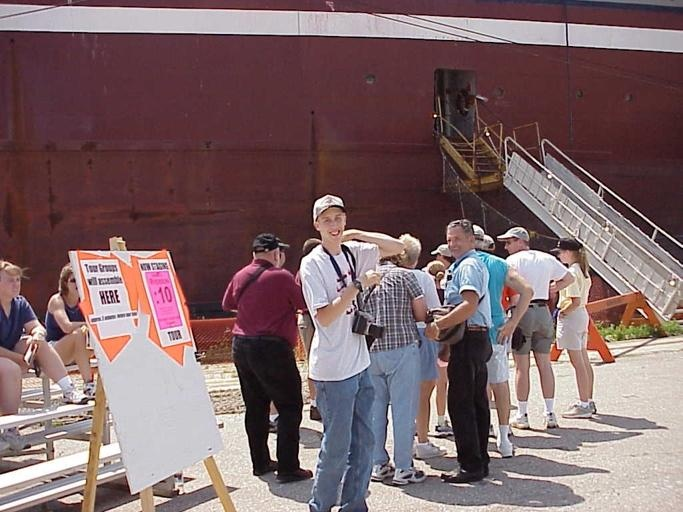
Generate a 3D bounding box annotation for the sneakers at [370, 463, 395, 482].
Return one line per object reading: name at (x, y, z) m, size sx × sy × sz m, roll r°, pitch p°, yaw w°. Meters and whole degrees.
sneakers at (0.563, 2.925, 10.709) m, size 0.433 × 0.210 × 0.145 m, roll -4°, pitch 4°, yaw -37°

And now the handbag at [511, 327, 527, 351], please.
handbag at (2.570, 1.193, 11.479) m, size 0.219 × 0.319 × 0.338 m, roll -1°, pitch 5°, yaw 12°

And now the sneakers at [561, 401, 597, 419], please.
sneakers at (3.726, 2.392, 12.365) m, size 0.562 × 0.300 × 0.223 m, roll -4°, pitch -3°, yaw 10°

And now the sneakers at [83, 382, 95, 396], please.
sneakers at (-3.553, 1.874, 11.108) m, size 0.133 × 0.196 × 0.411 m, roll 0°, pitch 4°, yaw -25°

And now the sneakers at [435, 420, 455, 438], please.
sneakers at (1.579, 2.617, 11.931) m, size 0.295 × 0.238 × 0.140 m, roll -2°, pitch -8°, yaw 9°

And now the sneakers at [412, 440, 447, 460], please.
sneakers at (1.268, 2.743, 11.294) m, size 0.442 × 0.220 × 0.214 m, roll -1°, pitch 1°, yaw -18°

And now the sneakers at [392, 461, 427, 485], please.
sneakers at (0.902, 2.893, 10.607) m, size 0.470 × 0.264 × 0.208 m, roll -5°, pitch 6°, yaw -26°

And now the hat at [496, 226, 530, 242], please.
hat at (2.666, -0.333, 12.233) m, size 0.518 × 0.264 × 0.362 m, roll 1°, pitch -3°, yaw 10°

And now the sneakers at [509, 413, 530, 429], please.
sneakers at (2.739, 2.505, 12.040) m, size 0.137 × 0.187 × 0.375 m, roll -5°, pitch 6°, yaw -9°

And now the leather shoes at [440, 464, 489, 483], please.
leather shoes at (1.647, 2.884, 10.593) m, size 0.572 × 0.248 × 0.222 m, roll 2°, pitch -7°, yaw -2°

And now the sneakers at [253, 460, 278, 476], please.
sneakers at (-1.027, 2.907, 10.922) m, size 0.394 × 0.176 × 0.139 m, roll -12°, pitch 13°, yaw -40°

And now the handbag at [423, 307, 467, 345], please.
handbag at (1.400, 0.863, 10.567) m, size 0.490 × 0.524 × 0.380 m, roll -17°, pitch 14°, yaw -10°

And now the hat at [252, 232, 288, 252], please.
hat at (-0.975, -0.185, 11.136) m, size 0.301 × 0.234 × 0.525 m, roll 2°, pitch 4°, yaw 31°

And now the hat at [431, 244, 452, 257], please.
hat at (1.630, -0.084, 12.727) m, size 0.285 × 0.164 × 0.237 m, roll 12°, pitch 4°, yaw 12°

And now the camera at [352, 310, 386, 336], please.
camera at (0.337, 0.803, 9.635) m, size 0.320 × 0.159 × 0.262 m, roll 24°, pitch 19°, yaw 11°
